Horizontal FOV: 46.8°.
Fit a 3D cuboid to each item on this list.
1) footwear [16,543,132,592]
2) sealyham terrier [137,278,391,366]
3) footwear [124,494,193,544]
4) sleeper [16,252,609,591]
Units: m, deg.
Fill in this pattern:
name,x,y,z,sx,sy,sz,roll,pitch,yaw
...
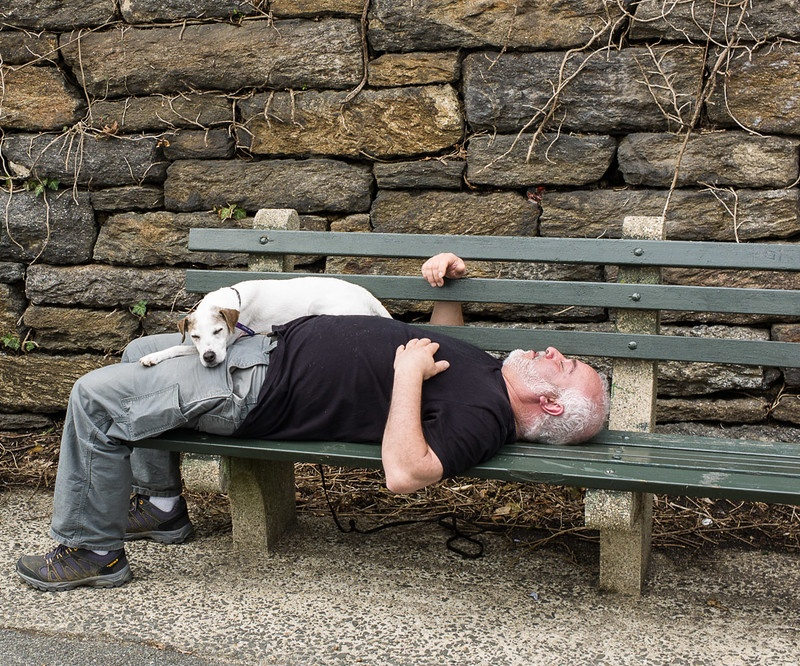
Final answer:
name,x,y,z,sx,sy,sz,roll,pitch,yaw
footwear,-1.260,0.913,3.679,0.508,0.177,0.160,3,12,-3
sealyham terrier,-0.519,-0.066,3.875,1.121,0.266,0.436,-19,30,-33
footwear,-1.126,0.800,4.061,0.482,0.170,0.148,-1,9,12
sleeper,-0.364,0.396,3.763,2.444,0.923,1.039,2,16,-1
